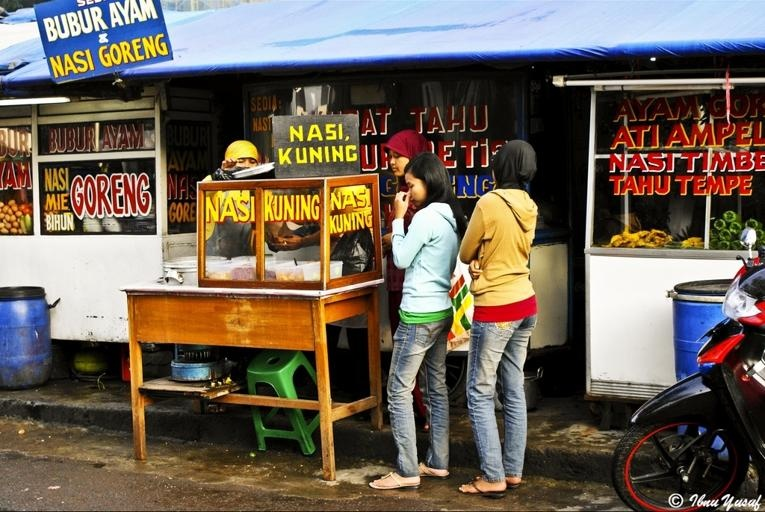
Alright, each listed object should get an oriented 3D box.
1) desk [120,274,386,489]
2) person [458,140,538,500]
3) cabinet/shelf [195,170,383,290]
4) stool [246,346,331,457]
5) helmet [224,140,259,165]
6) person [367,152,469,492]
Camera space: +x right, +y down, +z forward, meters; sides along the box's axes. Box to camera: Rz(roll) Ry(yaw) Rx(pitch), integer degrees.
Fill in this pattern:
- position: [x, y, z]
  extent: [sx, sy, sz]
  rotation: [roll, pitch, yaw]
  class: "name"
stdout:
- position: [-1.183, 1.066, 6.988]
  extent: [2.034, 1.544, 1.232]
  rotation: [-1, -1, 24]
  class: "desk"
- position: [0.894, 0.491, 5.880]
  extent: [0.531, 2.757, 0.389]
  rotation: [-4, 7, -39]
  class: "person"
- position: [-0.854, -0.209, 6.824]
  extent: [1.441, 0.931, 0.889]
  rotation: [1, 4, 27]
  class: "cabinet/shelf"
- position: [-0.989, 1.450, 6.975]
  extent: [0.592, 0.702, 0.592]
  rotation: [-8, -15, 3]
  class: "stool"
- position: [-1.342, -1.020, 7.243]
  extent: [0.250, 0.197, 0.249]
  rotation: [-2, -6, -14]
  class: "helmet"
- position: [0.277, 0.527, 6.085]
  extent: [0.712, 2.688, 0.395]
  rotation: [-1, 5, -5]
  class: "person"
